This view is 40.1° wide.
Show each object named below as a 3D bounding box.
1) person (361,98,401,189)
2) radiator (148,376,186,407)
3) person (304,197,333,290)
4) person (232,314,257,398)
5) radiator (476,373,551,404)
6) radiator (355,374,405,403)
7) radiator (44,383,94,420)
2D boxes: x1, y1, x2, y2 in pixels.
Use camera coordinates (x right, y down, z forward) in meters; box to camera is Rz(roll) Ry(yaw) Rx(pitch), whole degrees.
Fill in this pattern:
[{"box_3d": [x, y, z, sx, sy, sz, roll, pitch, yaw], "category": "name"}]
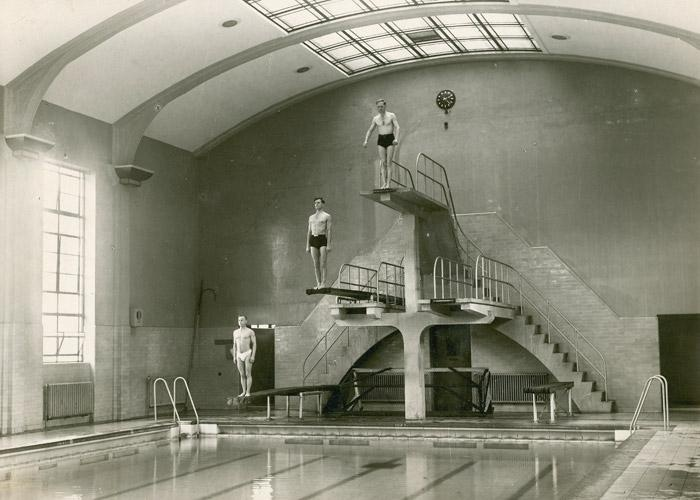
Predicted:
[{"box_3d": [0.872, -2.813, 25.486, 1.014, 2.247, 0.633, -2, 1, 23], "category": "person"}, {"box_3d": [-5.865, 4.515, 30.829, 0.622, 0.982, 2.102, -5, -10, 9], "category": "radiator"}, {"box_3d": [-0.867, -0.181, 26.062, 0.703, 2.469, 0.505, -3, -5, 19], "category": "person"}, {"box_3d": [-3.044, 3.049, 27.573, 0.724, 2.277, 0.475, -4, -6, 25], "category": "person"}, {"box_3d": [5.116, 4.168, 28.989, 1.742, 0.921, 0.237, -3, -6, 19], "category": "radiator"}, {"box_3d": [0.940, 4.256, 29.831, 1.256, 0.724, 0.143, 0, 3, 4], "category": "radiator"}, {"box_3d": [-7.971, 4.222, 27.319, 0.171, 0.991, 1.777, -4, -6, 29], "category": "radiator"}]
